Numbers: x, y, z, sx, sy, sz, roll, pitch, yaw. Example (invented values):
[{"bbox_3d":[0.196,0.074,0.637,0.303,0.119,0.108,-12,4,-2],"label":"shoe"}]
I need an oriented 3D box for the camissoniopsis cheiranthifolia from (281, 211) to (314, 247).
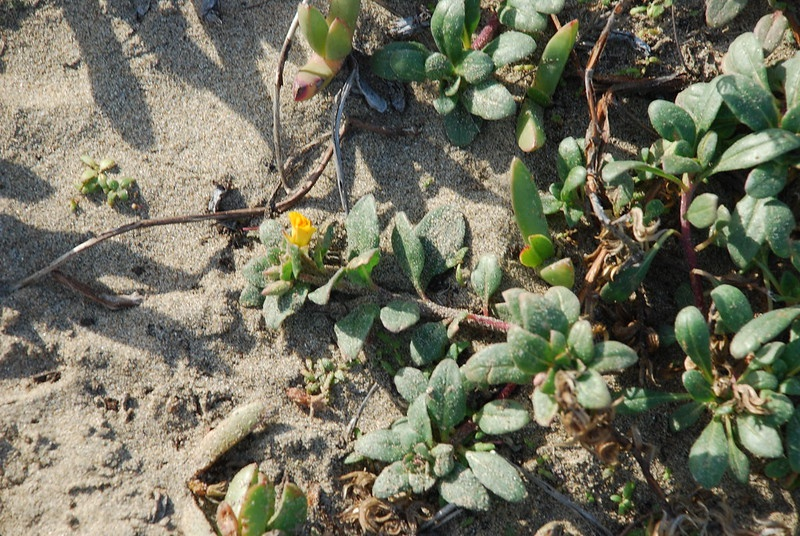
[{"bbox_3d":[-0.500,-0.186,4.316,0.146,0.168,0.188,7,95,-5],"label":"camissoniopsis cheiranthifolia"}]
